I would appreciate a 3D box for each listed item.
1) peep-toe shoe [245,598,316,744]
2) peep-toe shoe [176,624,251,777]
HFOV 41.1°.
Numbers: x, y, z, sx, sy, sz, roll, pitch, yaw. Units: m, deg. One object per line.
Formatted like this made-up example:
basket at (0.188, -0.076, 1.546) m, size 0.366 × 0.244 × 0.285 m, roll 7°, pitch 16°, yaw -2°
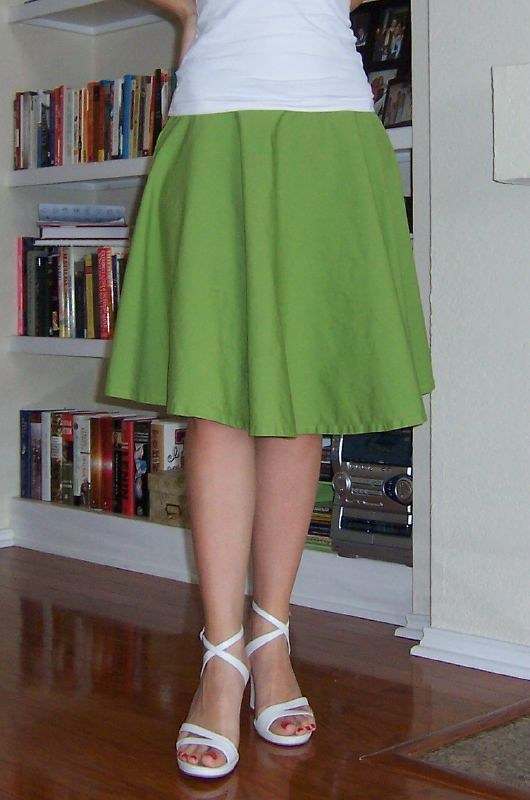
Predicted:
peep-toe shoe at (0.000, 0.315, 0.884) m, size 0.059 × 0.074 × 0.187 m, roll -9°, pitch 50°, yaw -15°
peep-toe shoe at (-0.053, 0.334, 0.790) m, size 0.052 × 0.069 × 0.172 m, roll 4°, pitch 13°, yaw 2°
